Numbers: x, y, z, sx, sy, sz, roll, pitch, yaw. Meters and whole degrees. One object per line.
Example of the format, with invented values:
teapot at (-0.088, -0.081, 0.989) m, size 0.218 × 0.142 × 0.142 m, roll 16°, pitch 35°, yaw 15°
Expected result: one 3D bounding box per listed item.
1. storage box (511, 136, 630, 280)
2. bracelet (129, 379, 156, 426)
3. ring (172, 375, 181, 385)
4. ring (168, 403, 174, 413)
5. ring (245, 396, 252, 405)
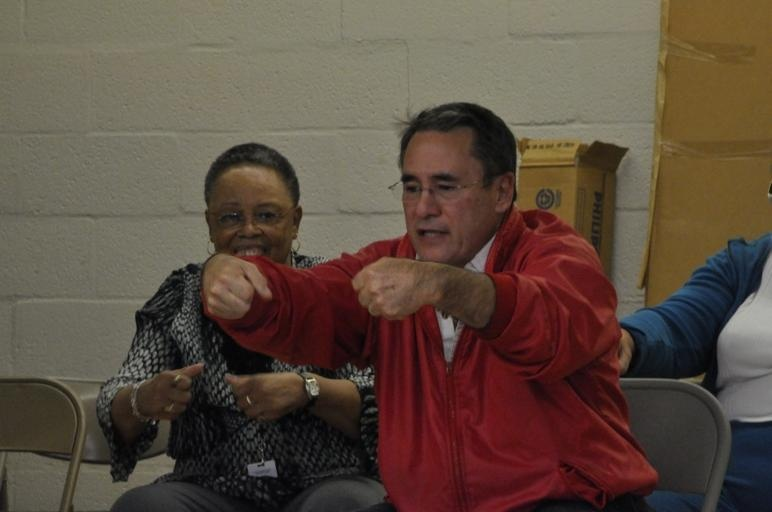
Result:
storage box at (0.886, -0.230, 4.567) m, size 0.468 × 0.683 × 0.529 m, roll 5°, pitch 3°, yaw -32°
bracelet at (-0.962, 0.574, 3.461) m, size 0.056 × 0.150 × 0.129 m, roll -6°, pitch -3°, yaw -19°
ring at (-0.785, 0.468, 3.352) m, size 0.013 × 0.034 × 0.026 m, roll 24°, pitch 12°, yaw -9°
ring at (-0.813, 0.574, 3.370) m, size 0.016 × 0.020 × 0.028 m, roll 20°, pitch -19°, yaw 10°
ring at (-0.516, 0.547, 3.359) m, size 0.007 × 0.028 × 0.028 m, roll -27°, pitch 10°, yaw -2°
